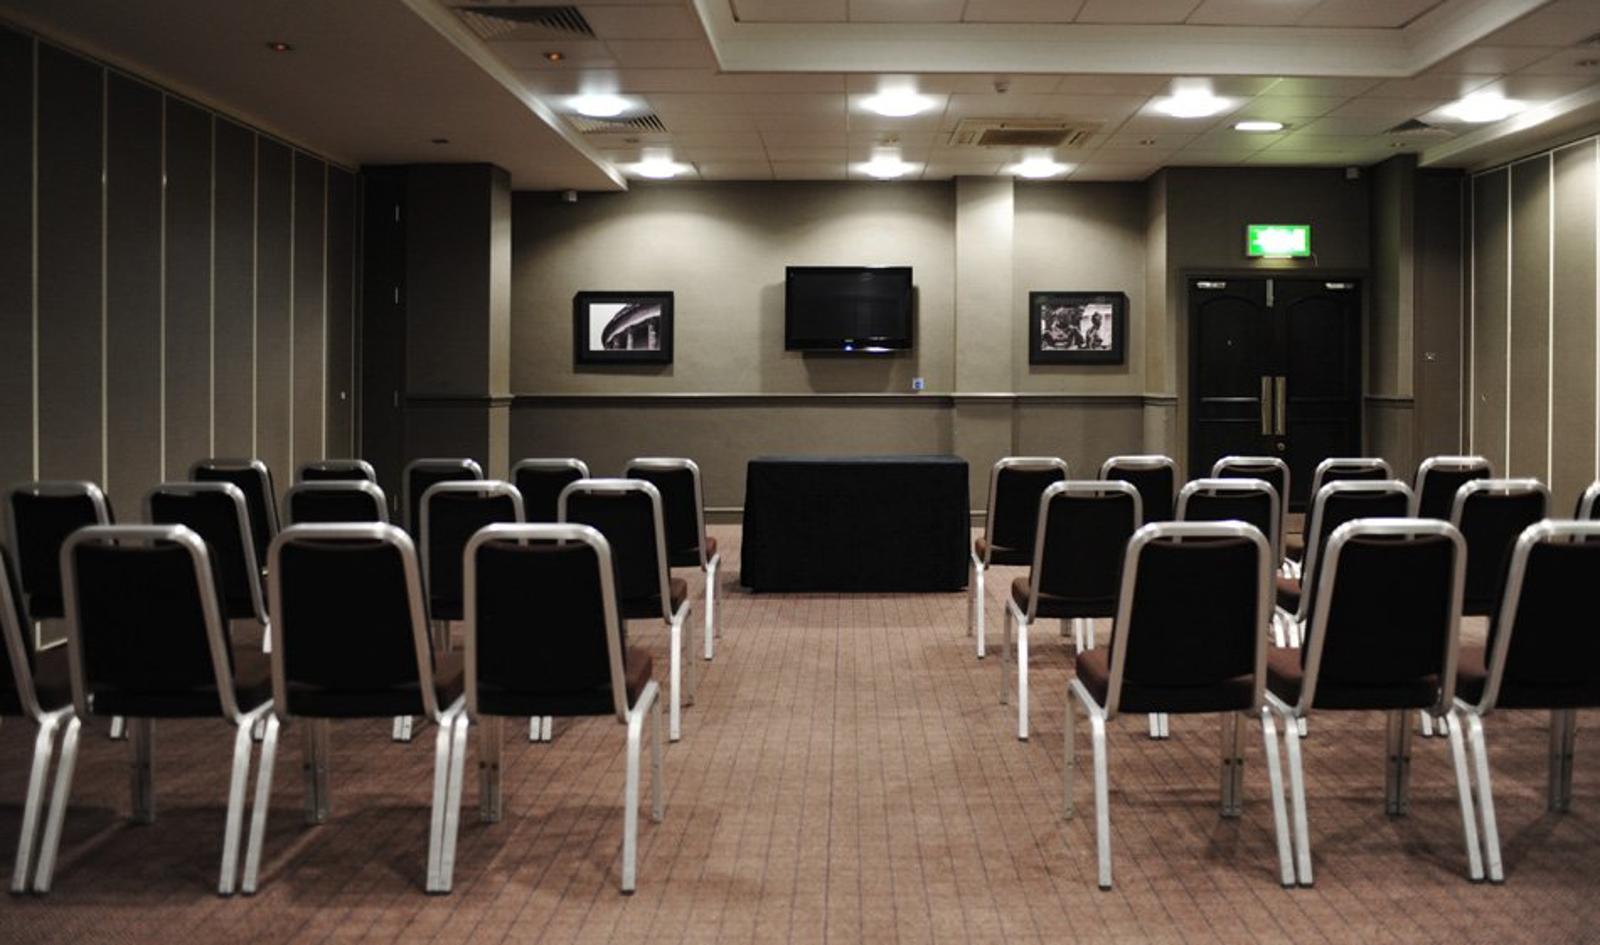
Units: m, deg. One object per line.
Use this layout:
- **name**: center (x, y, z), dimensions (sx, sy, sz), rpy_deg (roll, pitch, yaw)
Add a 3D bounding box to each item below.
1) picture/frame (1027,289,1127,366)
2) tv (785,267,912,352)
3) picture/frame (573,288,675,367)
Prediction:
- **picture/frame**: center (3.217, -1.713, 13.046), dimensions (0.880, 0.664, 0.065), rpy_deg (0, 0, -3)
- **tv**: center (0.561, -1.904, 13.007), dimensions (1.455, 0.984, 0.132), rpy_deg (0, 19, 2)
- **picture/frame**: center (-2.007, -1.728, 13.159), dimensions (0.918, 0.637, 0.037), rpy_deg (0, -2, -2)
